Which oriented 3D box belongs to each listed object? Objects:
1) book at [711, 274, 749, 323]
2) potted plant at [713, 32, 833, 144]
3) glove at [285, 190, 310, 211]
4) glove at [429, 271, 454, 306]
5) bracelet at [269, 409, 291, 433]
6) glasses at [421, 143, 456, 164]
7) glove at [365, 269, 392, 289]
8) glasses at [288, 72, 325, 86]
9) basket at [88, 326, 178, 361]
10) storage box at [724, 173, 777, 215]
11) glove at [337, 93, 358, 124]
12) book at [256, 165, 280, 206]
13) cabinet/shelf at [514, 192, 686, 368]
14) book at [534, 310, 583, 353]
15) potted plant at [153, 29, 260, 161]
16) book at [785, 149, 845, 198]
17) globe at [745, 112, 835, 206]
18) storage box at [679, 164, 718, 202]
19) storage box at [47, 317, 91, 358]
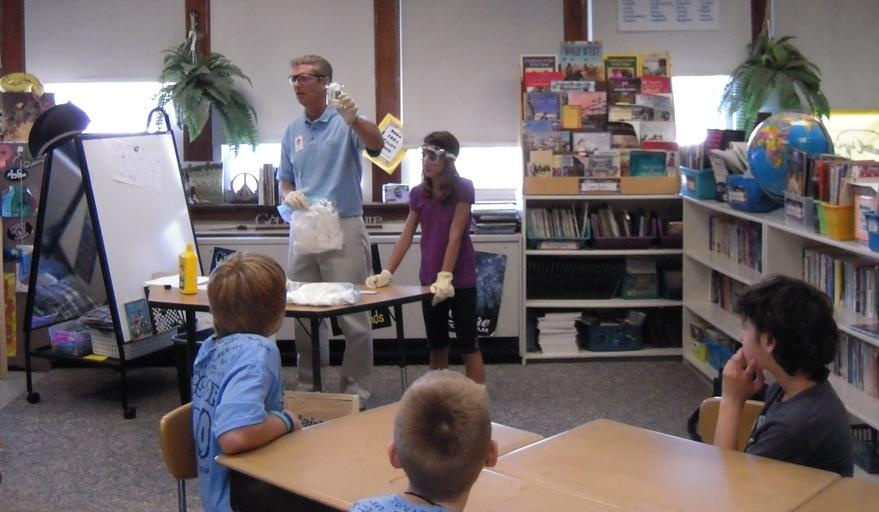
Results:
[{"bbox_3d":[2.255,0.329,5.367,0.183,0.321,0.338,-10,21,-21],"label":"book"},{"bbox_3d":[3.108,-1.651,6.677,1.127,0.771,0.908,-5,11,-20],"label":"potted plant"},{"bbox_3d":[-1.034,-0.404,5.099,0.167,0.119,0.075,-11,-13,-25],"label":"glove"},{"bbox_3d":[0.030,0.230,4.845,0.185,0.215,0.098,4,-11,-4],"label":"glove"},{"bbox_3d":[-0.730,0.769,3.222,0.036,0.094,0.080,-26,5,-37],"label":"bracelet"},{"bbox_3d":[-0.006,-0.727,4.919,0.142,0.061,0.170,8,-1,40],"label":"glasses"},{"bbox_3d":[-0.430,0.174,4.946,0.153,0.068,0.124,-18,5,-1],"label":"glove"},{"bbox_3d":[-0.941,-1.301,5.047,0.270,0.098,0.101,-3,10,-7],"label":"glasses"},{"bbox_3d":[-2.492,0.735,5.726,0.441,0.152,0.439,4,6,43],"label":"basket"},{"bbox_3d":[2.423,-0.487,5.402,0.348,0.171,0.248,-6,13,-29],"label":"storage box"},{"bbox_3d":[-0.649,-1.048,4.906,0.142,0.211,0.123,-3,10,-5],"label":"glove"},{"bbox_3d":[-1.660,-0.690,6.758,0.265,0.440,0.475,0,6,-1],"label":"book"},{"bbox_3d":[1.468,0.234,6.422,1.689,1.551,0.631,0,2,-4],"label":"cabinet/shelf"},{"bbox_3d":[1.103,0.721,6.505,0.347,0.238,0.403,0,1,-1],"label":"book"},{"bbox_3d":[-2.196,-1.600,6.540,0.880,1.136,0.596,-6,10,-20],"label":"potted plant"},{"bbox_3d":[2.523,-0.572,4.768,0.374,0.364,0.126,6,0,33],"label":"book"},{"bbox_3d":[2.500,-0.672,4.943,0.550,0.516,0.602,17,15,-22],"label":"globe"},{"bbox_3d":[2.280,-0.720,6.162,0.261,0.289,0.442,-5,10,-14],"label":"storage box"},{"bbox_3d":[-3.085,0.687,5.783,0.304,0.179,0.299,-1,7,-12],"label":"storage box"}]
